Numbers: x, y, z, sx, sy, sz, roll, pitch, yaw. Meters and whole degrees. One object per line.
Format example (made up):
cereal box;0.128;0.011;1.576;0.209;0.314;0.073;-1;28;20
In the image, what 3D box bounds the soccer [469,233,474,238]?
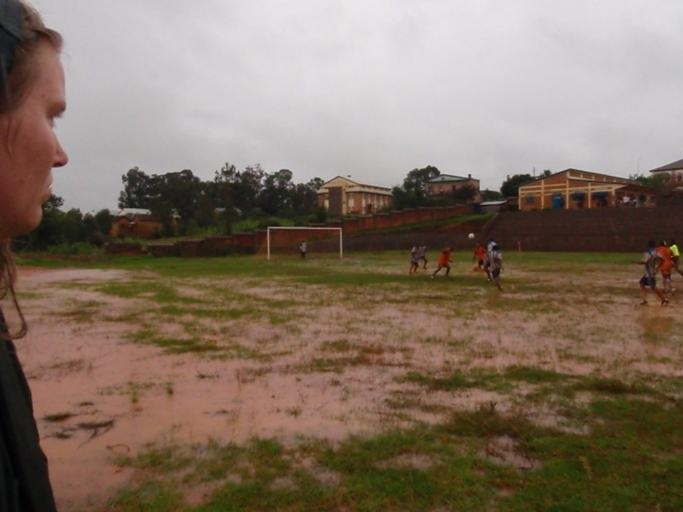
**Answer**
soccer;10.386;-1.652;46.690;0.488;0.394;0.531;-2;-3;-10
